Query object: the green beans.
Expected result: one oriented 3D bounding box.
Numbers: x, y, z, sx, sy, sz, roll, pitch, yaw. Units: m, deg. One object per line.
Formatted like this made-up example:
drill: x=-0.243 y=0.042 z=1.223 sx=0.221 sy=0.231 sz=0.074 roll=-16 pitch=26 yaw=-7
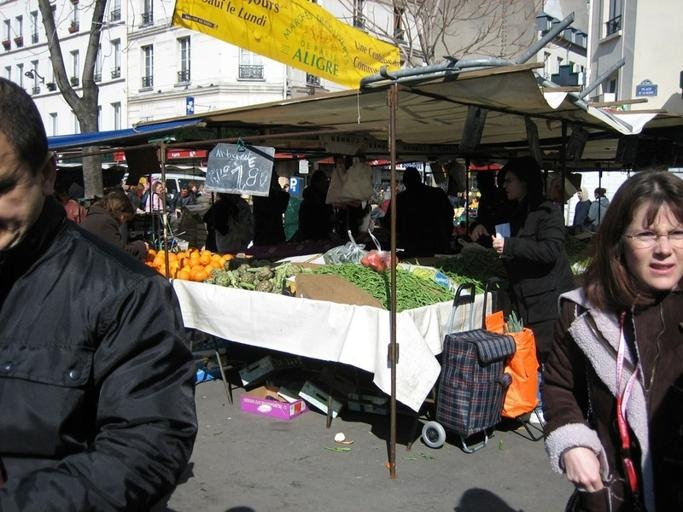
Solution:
green beans: x=0.429 y=0.109 z=5.513 sx=1.336 sy=0.363 sz=1.078 roll=-4 pitch=15 yaw=-38
